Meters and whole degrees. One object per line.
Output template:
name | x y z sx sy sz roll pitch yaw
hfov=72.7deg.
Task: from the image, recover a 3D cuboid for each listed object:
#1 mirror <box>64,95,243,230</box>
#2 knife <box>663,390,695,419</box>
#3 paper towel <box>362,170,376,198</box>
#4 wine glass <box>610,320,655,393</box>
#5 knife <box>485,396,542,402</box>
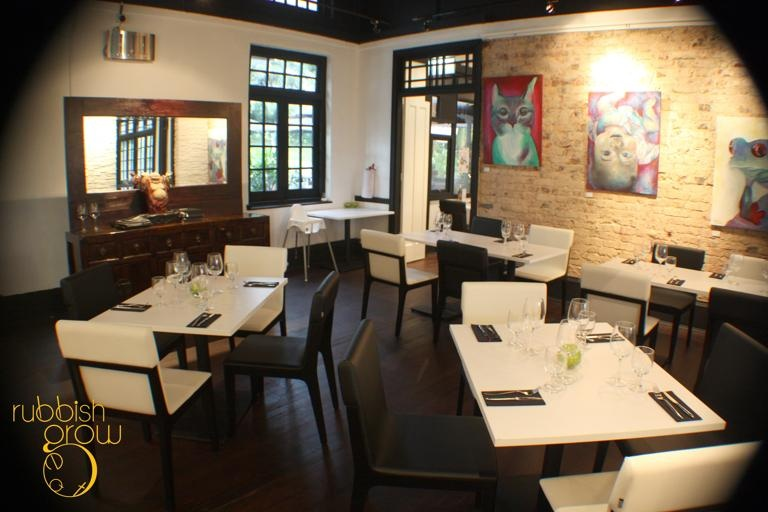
mirror | -3.104 -1.227 6.808 1.913 1.353 0.081 -6 10 -42
knife | 1.834 0.929 3.217 0.057 0.016 0.184 -7 18 0
paper towel | -0.255 -1.289 9.052 0.235 0.590 0.157 -4 12 -16
wine glass | 1.645 0.639 3.460 0.251 0.400 0.351 5 13 27
knife | 0.812 0.889 3.234 0.332 0.016 0.036 -1 11 0
